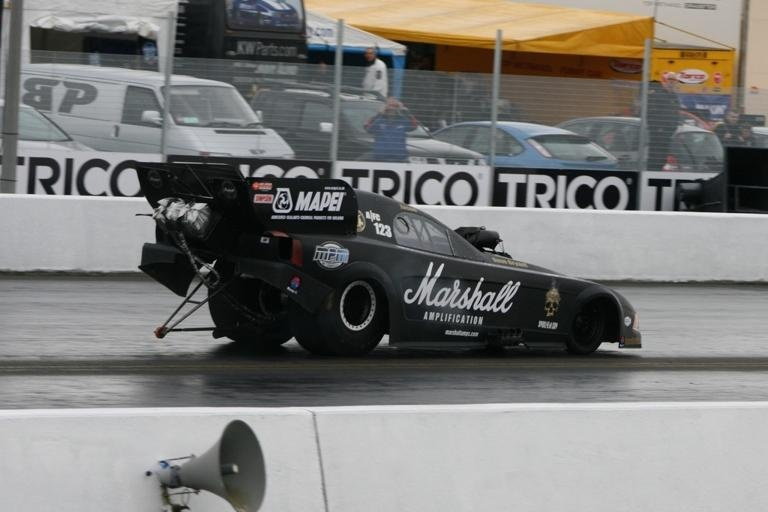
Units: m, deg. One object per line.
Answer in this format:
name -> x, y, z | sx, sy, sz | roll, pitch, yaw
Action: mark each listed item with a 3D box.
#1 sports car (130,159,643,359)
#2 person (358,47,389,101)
sports car -> -0.192, 0.075, 19.369 | 5.588, 2.271, 1.274 | 1, 7, -20
person -> -0.104, -3.009, 25.840 | 0.446, 0.795, 0.951 | 4, 6, -1
